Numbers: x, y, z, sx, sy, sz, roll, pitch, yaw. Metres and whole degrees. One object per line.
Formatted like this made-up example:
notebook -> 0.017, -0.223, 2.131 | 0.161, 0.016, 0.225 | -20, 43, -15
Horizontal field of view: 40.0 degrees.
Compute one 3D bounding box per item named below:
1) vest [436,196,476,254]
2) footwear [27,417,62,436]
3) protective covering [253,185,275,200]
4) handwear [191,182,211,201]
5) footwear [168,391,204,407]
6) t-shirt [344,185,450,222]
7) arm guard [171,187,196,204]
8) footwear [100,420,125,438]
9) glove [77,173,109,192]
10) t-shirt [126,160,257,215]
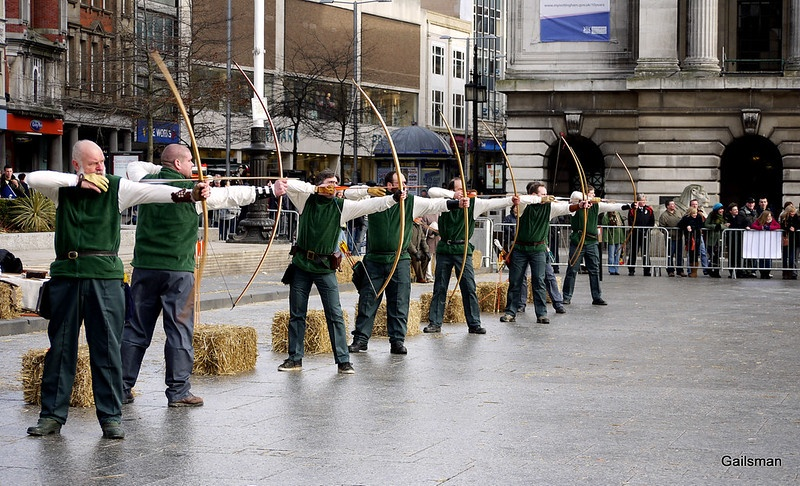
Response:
vest -> 1.003, -0.333, 19.806 | 0.735, 1.221, 0.528 | 9, 6, 29
footwear -> -4.342, 2.256, 13.430 | 0.399, 0.162, 0.183 | 3, -1, -11
protective covering -> -1.821, -0.693, 14.787 | 0.233, 0.179, 0.103 | -2, -9, 0
handwear -> -2.423, -0.631, 13.416 | 0.204, 0.230, 0.310 | -2, 3, 19
footwear -> -2.824, 2.052, 14.478 | 0.434, 0.187, 0.185 | -2, 3, -10
t-shirt -> -0.207, -0.782, 18.128 | 2.022, 0.480, 0.364 | 6, 18, 19
arm guard -> -2.658, -0.588, 13.452 | 0.206, 0.092, 0.230 | 0, -6, -1
footwear -> -3.483, 2.278, 13.342 | 0.152, 0.154, 0.387 | -1, -2, -25
glove -> -3.713, -0.729, 13.333 | 0.339, 0.250, 0.187 | -3, 2, -13
t-shirt -> -2.746, -0.723, 14.454 | 1.285, 0.298, 1.062 | 14, 11, 4
